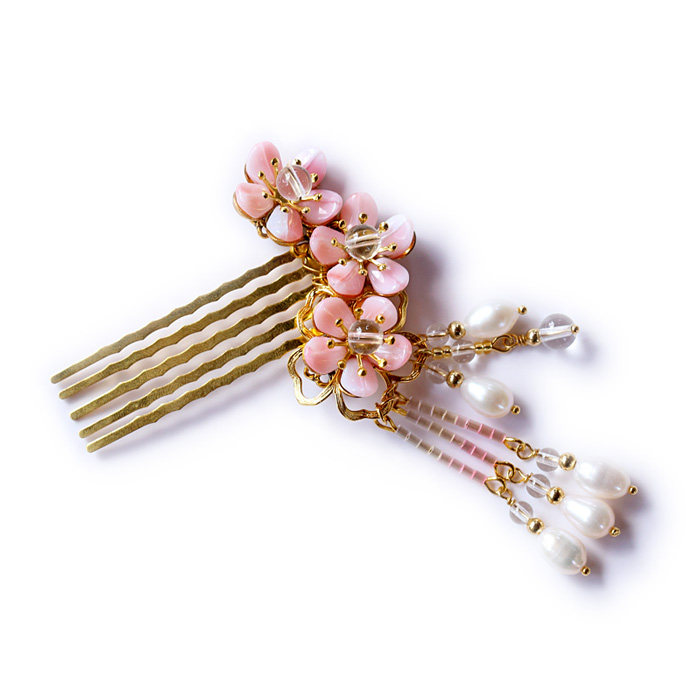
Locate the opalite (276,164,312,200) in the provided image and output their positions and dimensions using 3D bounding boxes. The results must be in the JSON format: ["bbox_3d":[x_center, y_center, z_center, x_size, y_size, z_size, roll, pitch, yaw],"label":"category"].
[{"bbox_3d":[-0.129,-0.392,2.139,0.086,0.043,0.083,-2,-70,-7],"label":"opalite"}]

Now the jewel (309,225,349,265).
[{"bbox_3d":[-0.055,-0.240,2.161,0.106,0.035,0.087,-17,-98,-27],"label":"jewel"}]

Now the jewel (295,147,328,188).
[{"bbox_3d":[-0.086,-0.447,2.201,0.087,0.022,0.079,7,-78,-2],"label":"jewel"}]

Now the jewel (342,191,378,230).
[{"bbox_3d":[0.027,-0.329,2.163,0.101,0.018,0.084,1,-88,-5],"label":"jewel"}]

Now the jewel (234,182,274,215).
[{"bbox_3d":[-0.232,-0.358,2.196,0.091,0.063,0.085,-3,-70,-7],"label":"jewel"}]

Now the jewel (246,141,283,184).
[{"bbox_3d":[-0.203,-0.450,2.237,0.114,0.069,0.096,-9,-94,2],"label":"jewel"}]

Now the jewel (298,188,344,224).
[{"bbox_3d":[-0.064,-0.334,2.165,0.100,0.036,0.078,-14,-68,-2],"label":"jewel"}]

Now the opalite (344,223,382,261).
[{"bbox_3d":[0.030,-0.242,2.075,0.106,0.070,0.075,-7,-78,-21],"label":"opalite"}]
